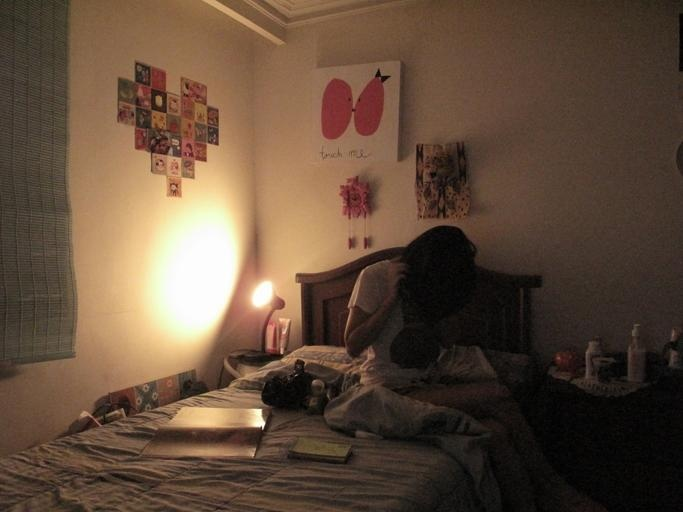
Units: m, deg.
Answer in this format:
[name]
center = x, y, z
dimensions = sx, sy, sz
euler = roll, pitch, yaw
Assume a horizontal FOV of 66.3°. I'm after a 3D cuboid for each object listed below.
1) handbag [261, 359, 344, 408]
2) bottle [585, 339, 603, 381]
[handbag]
center = -0.207, 0.621, 2.580
dimensions = 0.271, 0.137, 0.216
euler = -5, -4, 16
[bottle]
center = 1.362, 0.554, 2.812
dimensions = 0.087, 0.223, 0.064
euler = 3, -1, 20
